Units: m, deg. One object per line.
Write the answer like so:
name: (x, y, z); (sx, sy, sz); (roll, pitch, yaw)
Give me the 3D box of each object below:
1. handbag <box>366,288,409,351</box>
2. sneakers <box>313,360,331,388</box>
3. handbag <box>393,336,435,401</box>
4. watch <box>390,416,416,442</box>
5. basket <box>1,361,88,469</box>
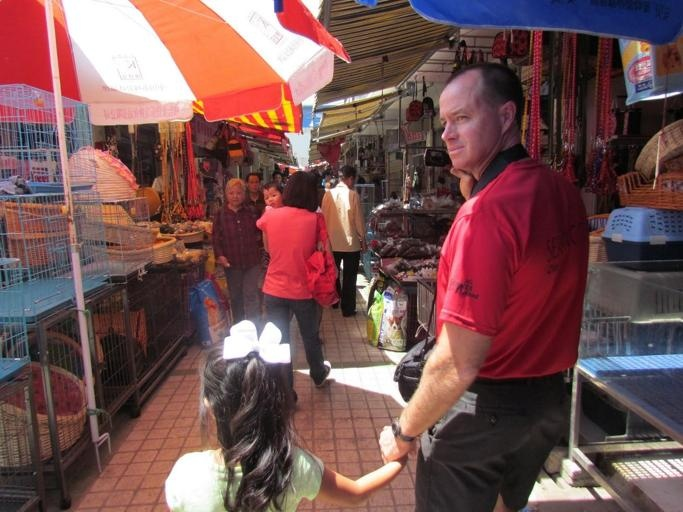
handbag: (0.567, 0.763, 6.201); (0.552, 0.848, 1.063); (3, -6, -6)
sneakers: (-0.172, 1.128, 5.042); (0.100, 0.136, 0.312); (2, 28, 12)
handbag: (0.415, 0.704, 3.158); (0.358, 0.369, 0.271); (1, 14, 4)
watch: (0.281, 0.812, 2.416); (0.099, 0.043, 0.106); (22, 18, -33)
basket: (-2.035, 1.060, 3.580); (0.333, 0.709, 0.582); (-2, 7, 13)
